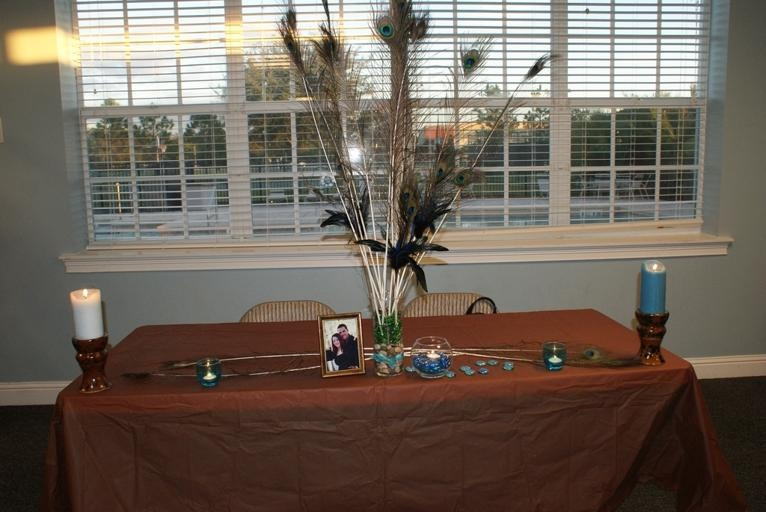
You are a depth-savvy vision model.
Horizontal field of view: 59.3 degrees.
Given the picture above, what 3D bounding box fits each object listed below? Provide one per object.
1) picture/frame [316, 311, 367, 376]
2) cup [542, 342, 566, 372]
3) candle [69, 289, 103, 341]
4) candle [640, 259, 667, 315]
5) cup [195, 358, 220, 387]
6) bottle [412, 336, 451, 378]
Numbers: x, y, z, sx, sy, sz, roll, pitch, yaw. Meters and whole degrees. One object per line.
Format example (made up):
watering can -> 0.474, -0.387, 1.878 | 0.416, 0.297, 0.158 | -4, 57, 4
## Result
picture/frame -> -0.213, 0.446, 3.338 | 0.297, 0.396, 0.040 | -3, 5, -7
cup -> 0.840, 0.496, 3.333 | 0.129, 0.143, 0.129 | -2, 0, 0
candle -> -1.437, 0.280, 3.278 | 0.143, 0.231, 0.133 | -4, 9, -14
candle -> 1.363, 0.150, 3.415 | 0.125, 0.251, 0.218 | 1, 9, 21
cup -> -0.844, 0.559, 3.268 | 0.125, 0.128, 0.124 | 0, 1, 0
bottle -> 0.244, 0.502, 3.381 | 0.228, 0.187, 0.225 | -8, 4, 7
